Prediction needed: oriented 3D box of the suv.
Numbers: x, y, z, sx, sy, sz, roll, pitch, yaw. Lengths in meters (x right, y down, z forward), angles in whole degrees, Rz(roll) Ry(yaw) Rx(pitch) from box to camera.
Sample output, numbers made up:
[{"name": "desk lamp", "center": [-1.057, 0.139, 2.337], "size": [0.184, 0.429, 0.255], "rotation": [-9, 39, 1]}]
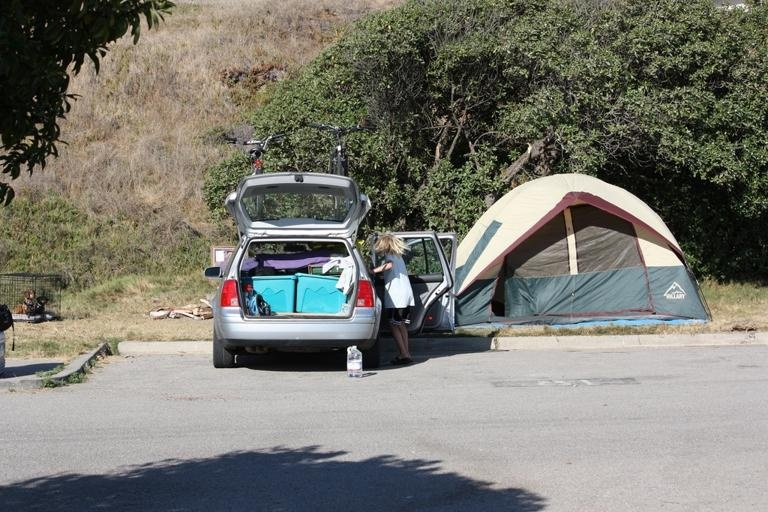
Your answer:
[{"name": "suv", "center": [-1.196, 0.295, 14.662], "size": [3.383, 2.155, 3.834], "rotation": [-1, 2, -1]}]

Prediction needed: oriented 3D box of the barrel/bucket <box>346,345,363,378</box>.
[{"name": "barrel/bucket", "center": [-0.429, 1.556, 12.919], "size": [0.206, 0.465, 0.285], "rotation": [-1, 23, -8]}]

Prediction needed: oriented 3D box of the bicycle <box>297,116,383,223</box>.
[{"name": "bicycle", "center": [-1.003, -2.249, 19.047], "size": [1.466, 1.418, 2.334], "rotation": [1, 8, -1]}]

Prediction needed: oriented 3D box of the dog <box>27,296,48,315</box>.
[{"name": "dog", "center": [-7.923, 1.138, 19.954], "size": [0.455, 0.237, 0.566], "rotation": [2, 16, -8]}]

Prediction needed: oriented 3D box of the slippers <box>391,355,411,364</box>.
[{"name": "slippers", "center": [0.264, 1.676, 14.164], "size": [0.331, 0.126, 0.118], "rotation": [3, -3, -5]}]

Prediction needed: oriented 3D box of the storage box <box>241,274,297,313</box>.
[{"name": "storage box", "center": [-1.869, 0.667, 13.954], "size": [0.552, 0.640, 0.891], "rotation": [-9, -1, -30]}]

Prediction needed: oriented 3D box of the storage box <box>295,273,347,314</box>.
[{"name": "storage box", "center": [-0.951, 0.558, 13.912], "size": [0.850, 0.620, 0.617], "rotation": [5, 9, 3]}]
